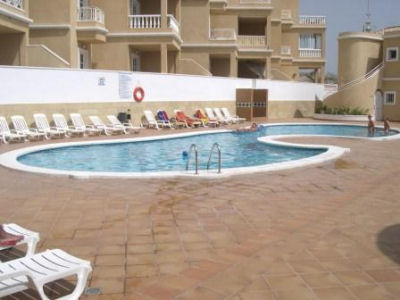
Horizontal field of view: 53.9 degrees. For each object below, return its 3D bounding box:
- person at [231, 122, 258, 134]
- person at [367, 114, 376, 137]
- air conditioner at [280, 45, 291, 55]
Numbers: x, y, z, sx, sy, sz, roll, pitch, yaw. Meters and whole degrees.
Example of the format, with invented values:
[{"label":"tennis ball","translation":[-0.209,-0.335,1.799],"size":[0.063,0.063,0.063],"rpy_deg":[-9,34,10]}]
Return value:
[{"label":"person","translation":[2.277,-1.037,19.539],"size":[1.449,0.619,0.569],"rpy_deg":[-11,8,-43]},{"label":"person","translation":[7.524,-1.073,17.236],"size":[0.245,0.953,0.730],"rpy_deg":[2,11,21]},{"label":"air conditioner","translation":[7.895,-9.144,36.079],"size":[1.034,0.784,0.807],"rpy_deg":[-2,10,-3]}]
